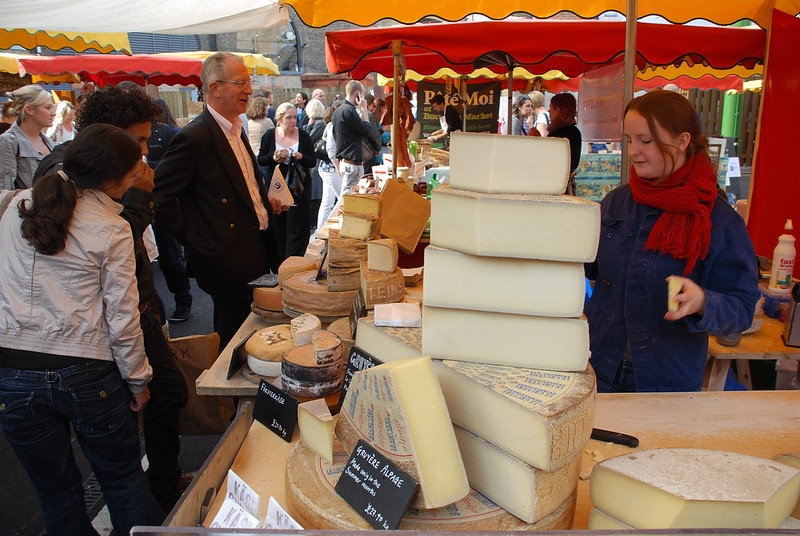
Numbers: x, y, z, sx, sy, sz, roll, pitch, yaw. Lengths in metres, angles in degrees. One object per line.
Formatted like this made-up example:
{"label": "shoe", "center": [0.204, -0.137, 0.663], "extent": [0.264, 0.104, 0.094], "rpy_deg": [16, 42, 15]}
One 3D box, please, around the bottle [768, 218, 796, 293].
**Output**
{"label": "bottle", "center": [2.456, -0.074, 3.632], "extent": [0.118, 0.461, 0.216], "rpy_deg": [6, 11, 33]}

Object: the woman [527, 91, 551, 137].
{"label": "woman", "center": [2.709, -2.754, 10.988], "extent": [0.460, 1.308, 0.535], "rpy_deg": [3, 41, 13]}

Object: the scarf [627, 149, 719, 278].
{"label": "scarf", "center": [1.299, -0.237, 2.684], "extent": [0.421, 0.527, 0.164], "rpy_deg": [-3, -11, 6]}

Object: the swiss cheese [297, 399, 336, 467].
{"label": "swiss cheese", "center": [-0.294, 0.582, 1.975], "extent": [0.070, 0.160, 0.175], "rpy_deg": [-13, 34, -38]}

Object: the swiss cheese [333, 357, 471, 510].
{"label": "swiss cheese", "center": [0.007, 0.463, 1.941], "extent": [0.265, 0.423, 0.593], "rpy_deg": [-15, 17, -19]}

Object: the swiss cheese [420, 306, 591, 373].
{"label": "swiss cheese", "center": [0.447, 0.252, 2.209], "extent": [0.742, 0.177, 0.835], "rpy_deg": [2, -1, -2]}

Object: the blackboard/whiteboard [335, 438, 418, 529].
{"label": "blackboard/whiteboard", "center": [-0.064, 0.674, 1.757], "extent": [0.254, 0.182, 0.034], "rpy_deg": [33, 12, 39]}

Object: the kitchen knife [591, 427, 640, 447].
{"label": "kitchen knife", "center": [0.841, 0.664, 2.211], "extent": [0.177, 0.047, 0.059], "rpy_deg": [3, 10, 20]}

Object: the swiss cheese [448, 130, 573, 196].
{"label": "swiss cheese", "center": [0.387, -0.352, 1.995], "extent": [0.442, 0.204, 0.287], "rpy_deg": [6, 5, 26]}
